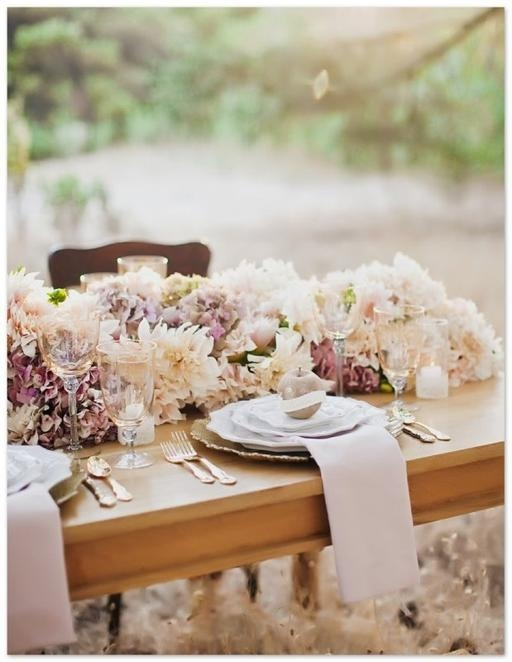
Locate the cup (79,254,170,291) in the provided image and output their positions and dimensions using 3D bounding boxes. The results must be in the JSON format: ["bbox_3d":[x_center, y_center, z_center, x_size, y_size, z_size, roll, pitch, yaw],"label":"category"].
[{"bbox_3d":[-0.237,-0.085,1.134,0.126,0.083,0.125,0,2,0],"label":"cup"}]

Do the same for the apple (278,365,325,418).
[{"bbox_3d":[0.060,0.087,0.878,0.062,0.062,0.060,-18,16,-31],"label":"apple"}]

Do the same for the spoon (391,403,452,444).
[{"bbox_3d":[0.238,0.137,0.968,0.034,0.012,0.111,-11,12,-12],"label":"spoon"}]

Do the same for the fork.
[{"bbox_3d":[-0.074,0.152,0.837,0.041,0.020,0.142,-5,21,-33],"label":"fork"}]
